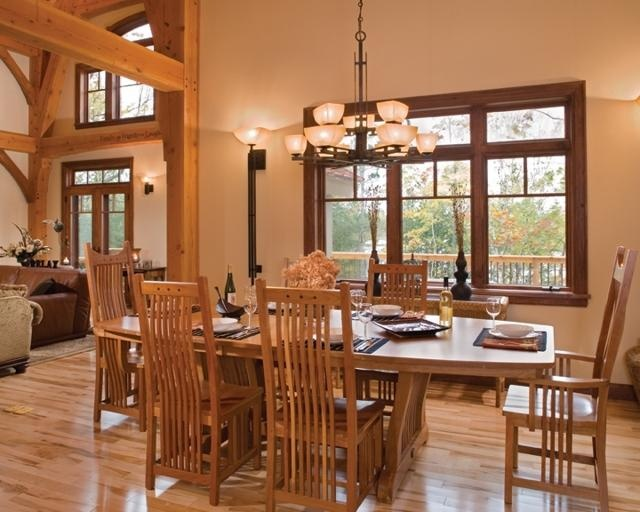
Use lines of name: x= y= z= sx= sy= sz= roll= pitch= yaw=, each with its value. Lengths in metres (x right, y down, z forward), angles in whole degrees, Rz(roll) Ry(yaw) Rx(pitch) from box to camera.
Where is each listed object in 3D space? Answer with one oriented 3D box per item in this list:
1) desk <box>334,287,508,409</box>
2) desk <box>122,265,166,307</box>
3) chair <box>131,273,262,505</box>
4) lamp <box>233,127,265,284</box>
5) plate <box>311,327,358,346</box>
desk: x=0.694 y=0.643 z=3.812 sx=1.117 sy=0.247 sz=0.791 roll=2 pitch=7 yaw=33
desk: x=-2.798 y=0.468 z=9.123 sx=0.706 sy=0.464 sz=0.644 roll=-6 pitch=10 yaw=2
chair: x=-0.782 y=0.786 z=3.517 sx=0.682 sy=1.432 sz=0.529 roll=4 pitch=12 yaw=19
lamp: x=-0.768 y=-0.556 z=6.209 sx=0.381 sy=1.755 sz=0.339 roll=2 pitch=12 yaw=11
plate: x=0.084 y=0.472 z=3.173 sx=0.170 sy=0.036 sz=0.166 roll=1 pitch=1 yaw=21
